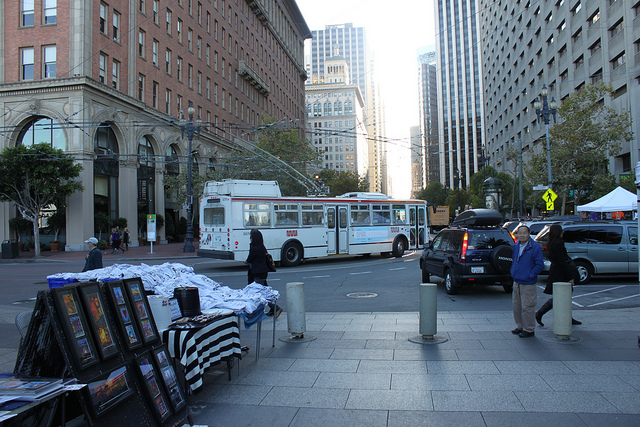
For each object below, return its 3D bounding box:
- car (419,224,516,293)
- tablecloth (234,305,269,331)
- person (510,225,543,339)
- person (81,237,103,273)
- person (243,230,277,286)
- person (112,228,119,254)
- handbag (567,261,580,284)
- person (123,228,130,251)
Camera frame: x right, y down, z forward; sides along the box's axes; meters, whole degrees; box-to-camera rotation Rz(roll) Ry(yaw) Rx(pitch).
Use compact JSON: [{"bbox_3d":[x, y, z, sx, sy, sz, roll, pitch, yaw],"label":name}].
[{"bbox_3d":[5.139,1.580,20.886,1.602,2.289,3.240,-14,17,-43],"label":"car"},{"bbox_3d":[-1.683,2.632,14.745,0.558,0.260,0.585,-12,-6,27],"label":"tablecloth"},{"bbox_3d":[5.660,1.885,16.199,0.799,2.949,1.244,2,13,19],"label":"person"},{"bbox_3d":[-7.316,1.303,18.707,0.561,1.064,0.746,-7,14,-23],"label":"person"},{"bbox_3d":[-1.888,1.377,18.160,0.823,1.809,0.725,-5,13,-13],"label":"person"},{"bbox_3d":[-12.608,1.611,36.084,0.357,1.186,0.494,-7,13,-20],"label":"person"},{"bbox_3d":[7.180,1.726,16.734,0.305,0.734,0.736,3,13,21],"label":"handbag"},{"bbox_3d":[-12.569,1.691,37.851,0.338,1.437,0.822,-7,13,-22],"label":"person"}]
